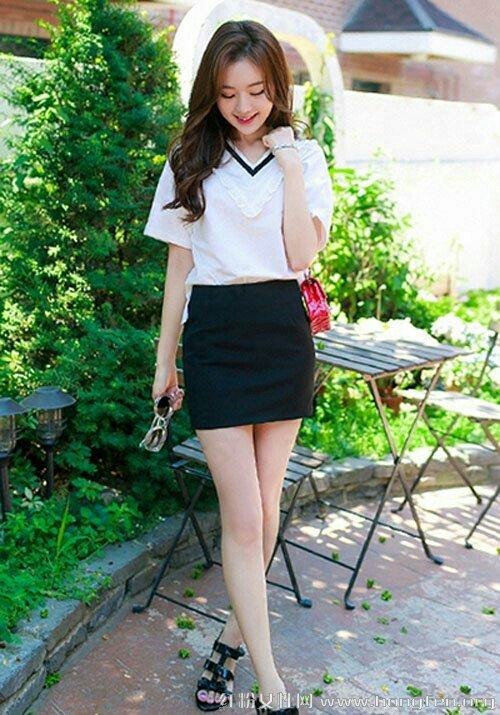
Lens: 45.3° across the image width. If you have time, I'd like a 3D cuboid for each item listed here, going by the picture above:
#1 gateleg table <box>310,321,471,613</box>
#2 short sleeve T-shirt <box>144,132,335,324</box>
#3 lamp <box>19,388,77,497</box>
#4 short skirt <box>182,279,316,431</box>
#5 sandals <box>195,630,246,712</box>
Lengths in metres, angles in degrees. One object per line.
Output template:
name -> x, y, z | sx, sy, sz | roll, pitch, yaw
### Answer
gateleg table -> 0.710, 0.930, 3.195 | 0.447, 0.481, 0.607 | -28, 46, 8
short sleeve T-shirt -> -0.025, -0.351, 1.610 | 0.507, 0.518, 0.296 | 2, 6, -9
lamp -> -0.860, 0.343, 2.540 | 0.195, 0.483, 0.533 | 1, 6, -18
short skirt -> 0.023, -0.006, 1.610 | 0.345, 0.348, 0.188 | -1, 25, -11
sandals -> -0.060, 0.932, 1.891 | 0.109, 0.118, 0.301 | 17, 41, 9
